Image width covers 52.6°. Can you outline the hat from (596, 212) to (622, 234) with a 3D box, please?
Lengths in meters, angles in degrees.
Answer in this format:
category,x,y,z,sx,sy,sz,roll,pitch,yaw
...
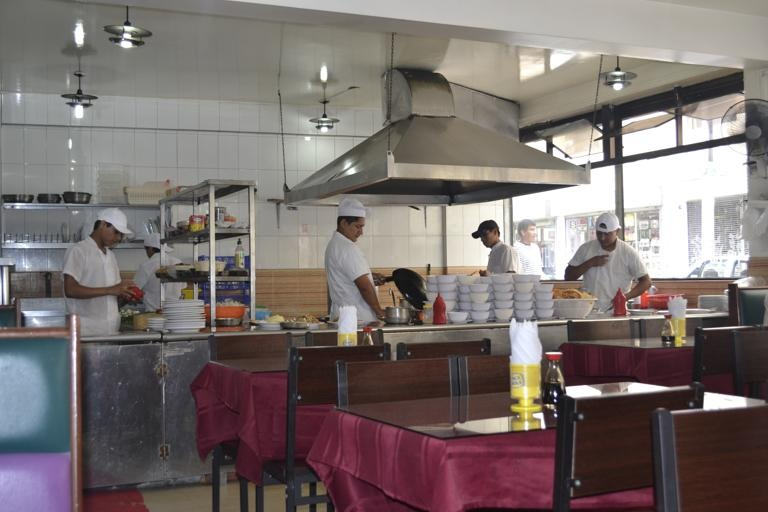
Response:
category,x,y,z,sx,sy,sz,roll,pitch,yaw
hat,2.032,-0.301,6.988,0.161,0.128,0.237,5,12,32

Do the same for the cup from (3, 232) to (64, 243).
category,x,y,z,sx,sy,sz,roll,pitch,yaw
cup,-3.804,-0.194,8.439,0.601,0.100,0.140,-1,-14,-14

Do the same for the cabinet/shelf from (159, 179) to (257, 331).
category,x,y,z,sx,sy,sz,roll,pitch,yaw
cabinet/shelf,-1.532,0.004,6.682,0.418,1.167,1.372,1,-4,-27

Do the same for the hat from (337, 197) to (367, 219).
category,x,y,z,sx,sy,sz,roll,pitch,yaw
hat,-0.246,-0.386,6.230,0.175,0.111,0.174,1,2,7

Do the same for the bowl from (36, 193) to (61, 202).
category,x,y,z,sx,sy,sz,roll,pitch,yaw
bowl,-3.505,-0.600,8.163,0.130,0.050,0.142,0,-4,0

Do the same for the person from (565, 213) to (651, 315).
category,x,y,z,sx,sy,sz,roll,pitch,yaw
person,2.147,0.083,7.299,0.424,1.260,0.663,-19,27,-41

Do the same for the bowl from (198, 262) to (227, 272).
category,x,y,z,sx,sy,sz,roll,pitch,yaw
bowl,-1.333,0.076,5.920,0.223,0.083,0.248,-1,-2,-8

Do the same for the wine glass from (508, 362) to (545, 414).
category,x,y,z,sx,sy,sz,roll,pitch,yaw
wine glass,0.683,0.624,3.730,0.139,0.227,0.167,-1,-2,7

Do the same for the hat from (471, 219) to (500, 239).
category,x,y,z,sx,sy,sz,roll,pitch,yaw
hat,1.059,-0.285,8.053,0.267,0.144,0.182,-1,-3,-3

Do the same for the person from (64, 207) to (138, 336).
category,x,y,z,sx,sy,sz,roll,pitch,yaw
person,-2.274,0.112,6.187,0.505,1.004,0.586,0,-2,-21

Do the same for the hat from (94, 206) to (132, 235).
category,x,y,z,sx,sy,sz,roll,pitch,yaw
hat,-2.151,-0.294,6.342,0.328,0.184,0.236,27,-1,-11

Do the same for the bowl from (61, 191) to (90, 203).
category,x,y,z,sx,sy,sz,roll,pitch,yaw
bowl,-3.244,-0.609,8.235,0.189,0.072,0.168,3,-10,-28

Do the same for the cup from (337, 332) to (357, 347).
category,x,y,z,sx,sy,sz,roll,pitch,yaw
cup,-0.221,0.487,4.537,0.090,0.063,0.088,1,1,0

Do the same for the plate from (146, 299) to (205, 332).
category,x,y,z,sx,sy,sz,roll,pitch,yaw
plate,-1.478,0.404,5.763,0.298,0.143,0.293,0,0,3

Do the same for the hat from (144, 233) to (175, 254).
category,x,y,z,sx,sy,sz,roll,pitch,yaw
hat,-2.262,-0.137,7.776,0.340,0.171,0.218,10,4,10

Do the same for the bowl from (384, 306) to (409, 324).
category,x,y,z,sx,sy,sz,roll,pitch,yaw
bowl,0.101,0.454,5.919,0.144,0.085,0.142,1,4,0

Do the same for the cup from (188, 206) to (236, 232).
category,x,y,z,sx,sy,sz,roll,pitch,yaw
cup,-1.345,-0.280,6.224,0.245,0.128,0.328,0,0,30

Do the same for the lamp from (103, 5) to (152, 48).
category,x,y,z,sx,sy,sz,roll,pitch,yaw
lamp,-2.157,-1.947,6.548,0.325,0.445,0.320,0,-8,-5
